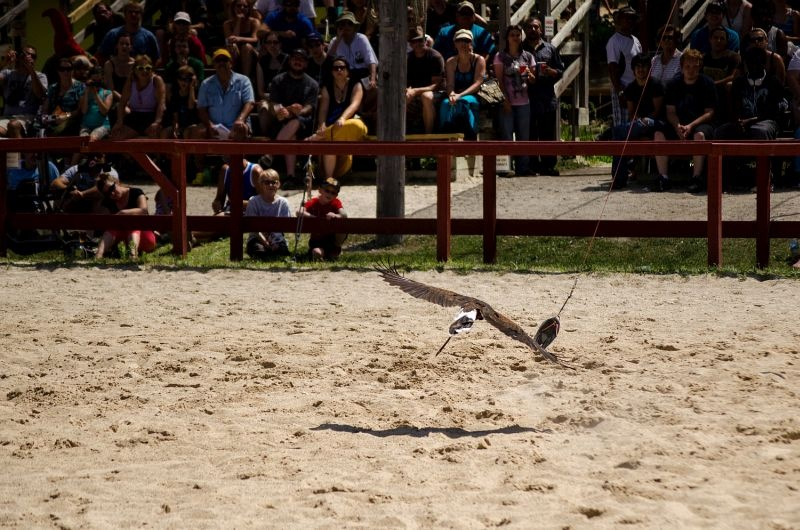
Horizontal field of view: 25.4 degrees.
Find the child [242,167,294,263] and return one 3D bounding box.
[{"bbox_3d":[-2.088,-0.811,28.167,0.704,1.390,0.971,3,12,-5],"label":"child"}]

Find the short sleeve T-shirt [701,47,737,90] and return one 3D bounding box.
[{"bbox_3d":[5.478,-3.263,30.144,0.607,0.656,0.242,6,-2,40],"label":"short sleeve T-shirt"}]

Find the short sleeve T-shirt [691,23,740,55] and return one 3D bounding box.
[{"bbox_3d":[5.507,-4.077,30.771,0.814,0.757,0.466,0,-11,26],"label":"short sleeve T-shirt"}]

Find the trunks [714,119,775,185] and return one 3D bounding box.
[{"bbox_3d":[5.820,-1.852,29.745,0.938,1.316,0.999,0,-1,11],"label":"trunks"}]

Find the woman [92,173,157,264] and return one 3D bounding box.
[{"bbox_3d":[-4.480,-0.677,28.681,0.765,1.505,1.374,-11,-20,18],"label":"woman"}]

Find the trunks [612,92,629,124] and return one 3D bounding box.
[{"bbox_3d":[3.877,-2.744,31.300,0.377,0.761,0.525,-1,9,4],"label":"trunks"}]

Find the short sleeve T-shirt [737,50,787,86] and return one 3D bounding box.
[{"bbox_3d":[6.159,-3.301,29.881,0.731,0.613,0.580,-1,4,12],"label":"short sleeve T-shirt"}]

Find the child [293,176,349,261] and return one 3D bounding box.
[{"bbox_3d":[-1.176,-0.753,28.129,0.686,1.242,0.766,9,12,36],"label":"child"}]
